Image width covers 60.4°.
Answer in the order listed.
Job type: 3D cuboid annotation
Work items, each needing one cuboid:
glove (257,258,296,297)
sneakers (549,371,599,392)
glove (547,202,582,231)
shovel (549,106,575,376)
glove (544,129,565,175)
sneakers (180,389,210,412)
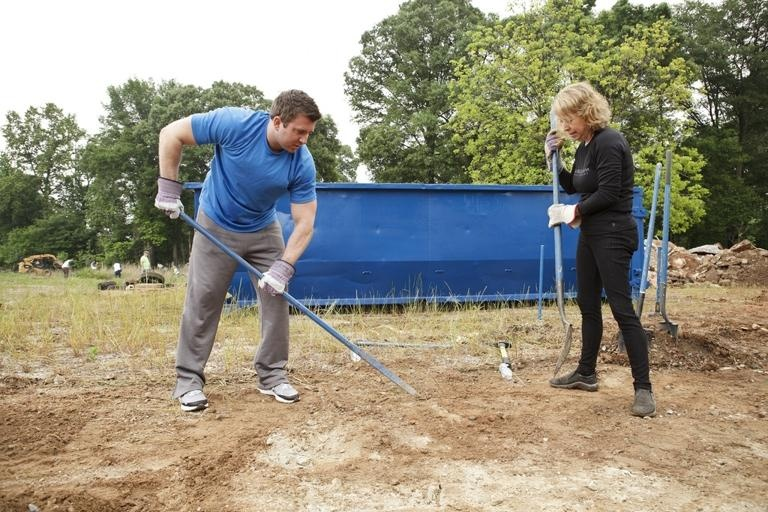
[{"bbox_3d":[-1.376,0.256,8.424,0.428,0.452,0.237,0,0,-14],"label":"glove"},{"bbox_3d":[2.484,1.656,8.716,0.636,0.256,0.239,4,-16,13],"label":"sneakers"},{"bbox_3d":[2.408,-0.514,8.612,0.344,0.356,0.153,4,5,37],"label":"glove"},{"bbox_3d":[2.350,0.004,8.850,0.270,3.204,0.616,-9,-16,41],"label":"shovel"},{"bbox_3d":[2.295,-1.404,8.799,0.182,0.503,0.368,8,1,-2],"label":"glove"},{"bbox_3d":[-2.401,1.815,8.343,0.339,0.249,0.176,0,0,-16],"label":"sneakers"}]
